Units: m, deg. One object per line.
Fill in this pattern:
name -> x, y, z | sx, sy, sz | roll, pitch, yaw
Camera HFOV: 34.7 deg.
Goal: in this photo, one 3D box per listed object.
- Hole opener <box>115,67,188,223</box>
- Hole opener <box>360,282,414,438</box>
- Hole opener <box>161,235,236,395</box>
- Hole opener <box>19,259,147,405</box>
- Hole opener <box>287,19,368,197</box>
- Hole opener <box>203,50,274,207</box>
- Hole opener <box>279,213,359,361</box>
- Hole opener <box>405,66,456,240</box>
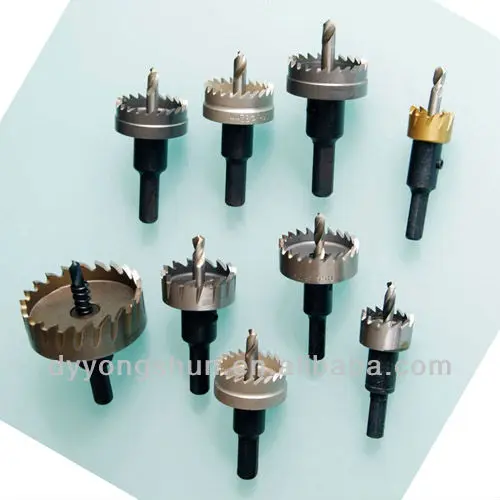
Hole opener -> -0.240, -0.232, 1.912 | 0.171, 0.393, 0.167 | 3, 19, -1
Hole opener -> 0.310, 0.272, 1.902 | 0.116, 0.452, 0.173 | 6, 19, 9
Hole opener -> -0.124, 0.161, 1.926 | 0.147, 0.392, 0.158 | 8, 18, 29
Hole opener -> -0.392, 0.210, 1.943 | 0.260, 0.449, 0.293 | -9, 30, -12
Hole opener -> 0.167, -0.306, 1.810 | 0.180, 0.406, 0.151 | 6, 19, 8
Hole opener -> -0.036, -0.270, 1.858 | 0.169, 0.374, 0.174 | 5, 19, 4
Hole opener -> 0.157, 0.102, 1.858 | 0.133, 0.332, 0.143 | -5, 16, -22
Hole opener -> 0.395, -0.205, 1.809 | 0.094, 0.405, 0.110 | 7, 19, 11
